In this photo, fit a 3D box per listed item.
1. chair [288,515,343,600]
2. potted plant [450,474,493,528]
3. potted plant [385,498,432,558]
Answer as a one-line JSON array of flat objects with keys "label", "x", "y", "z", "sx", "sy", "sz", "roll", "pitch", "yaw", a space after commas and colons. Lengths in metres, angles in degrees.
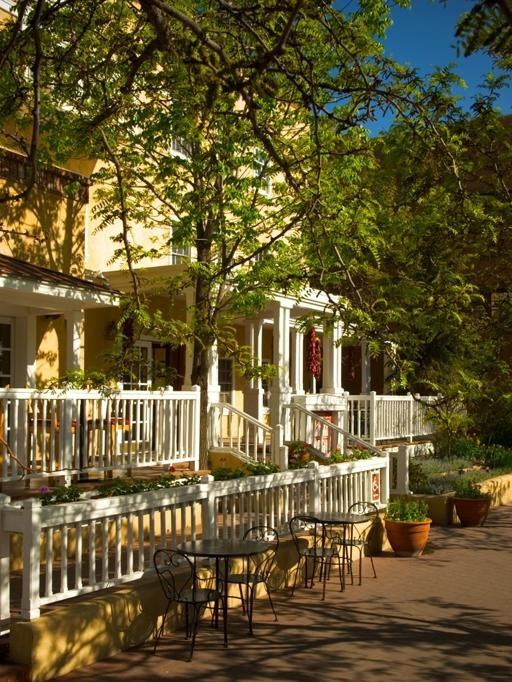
[{"label": "chair", "x": 0.694, "y": 2.326, "z": 8.449, "sx": 0.619, "sy": 0.812, "sz": 1.856, "roll": 4, "pitch": -4, "yaw": 6}, {"label": "potted plant", "x": 3.567, "y": 2.742, "z": 12.632, "sx": 0.704, "sy": 0.758, "sz": 0.706, "roll": 0, "pitch": -3, "yaw": -1}, {"label": "potted plant", "x": 2.056, "y": 2.540, "z": 10.138, "sx": 0.667, "sy": 0.718, "sz": 0.662, "roll": -5, "pitch": -8, "yaw": 30}]
